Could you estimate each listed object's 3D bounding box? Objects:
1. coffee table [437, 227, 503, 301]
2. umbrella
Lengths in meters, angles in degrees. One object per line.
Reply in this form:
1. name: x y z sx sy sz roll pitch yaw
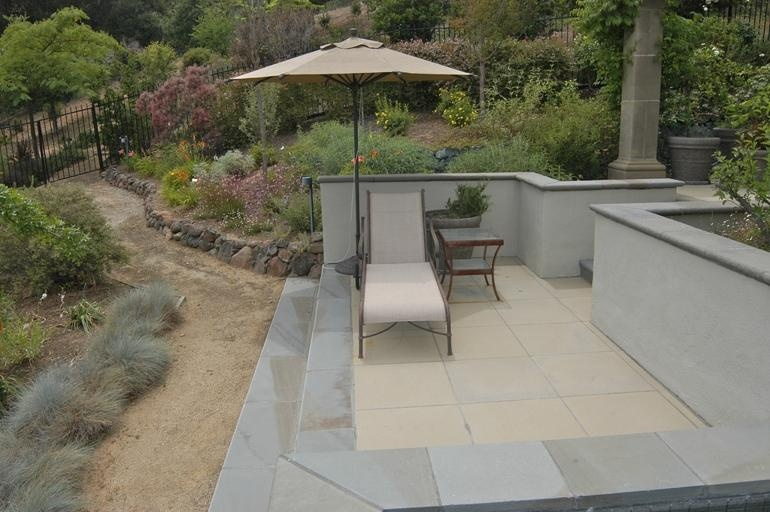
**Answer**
1. coffee table: 1.090 0.195 7.538 0.940 1.042 0.953 -1 16 0
2. umbrella: -0.648 -1.230 8.153 3.170 3.159 3.244 -4 14 -14
